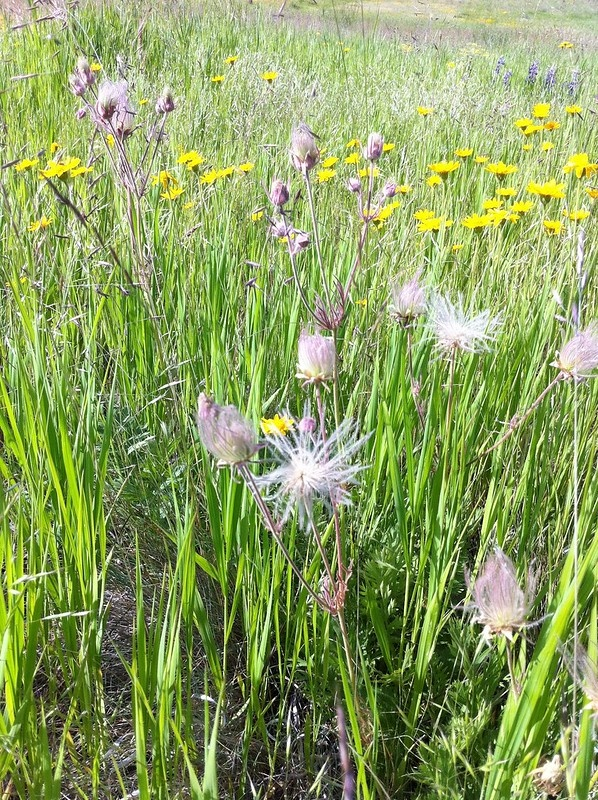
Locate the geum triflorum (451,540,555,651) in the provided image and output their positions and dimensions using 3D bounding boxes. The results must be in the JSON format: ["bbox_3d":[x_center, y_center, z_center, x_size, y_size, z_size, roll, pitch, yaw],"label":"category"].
[{"bbox_3d":[0.276,0.267,1.034,0.090,0.225,0.098,-8,11,-31],"label":"geum triflorum"}]
